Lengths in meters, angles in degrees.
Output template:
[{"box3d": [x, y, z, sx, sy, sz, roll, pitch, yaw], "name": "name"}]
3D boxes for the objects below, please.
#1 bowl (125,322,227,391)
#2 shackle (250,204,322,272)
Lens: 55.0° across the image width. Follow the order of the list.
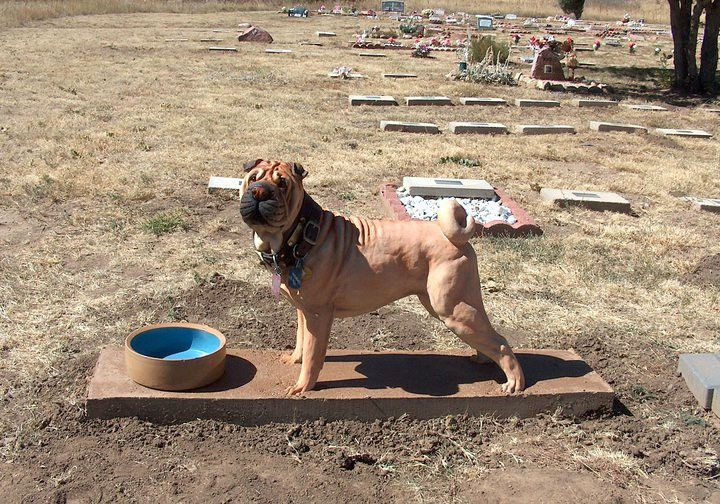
[{"box3d": [-1.742, 0.964, 6.515, 0.927, 0.362, 0.625, -2, 27, -9], "name": "bowl"}, {"box3d": [-0.612, -0.217, 6.230, 0.245, 0.471, 0.618, 37, 51, -14], "name": "shackle"}]
